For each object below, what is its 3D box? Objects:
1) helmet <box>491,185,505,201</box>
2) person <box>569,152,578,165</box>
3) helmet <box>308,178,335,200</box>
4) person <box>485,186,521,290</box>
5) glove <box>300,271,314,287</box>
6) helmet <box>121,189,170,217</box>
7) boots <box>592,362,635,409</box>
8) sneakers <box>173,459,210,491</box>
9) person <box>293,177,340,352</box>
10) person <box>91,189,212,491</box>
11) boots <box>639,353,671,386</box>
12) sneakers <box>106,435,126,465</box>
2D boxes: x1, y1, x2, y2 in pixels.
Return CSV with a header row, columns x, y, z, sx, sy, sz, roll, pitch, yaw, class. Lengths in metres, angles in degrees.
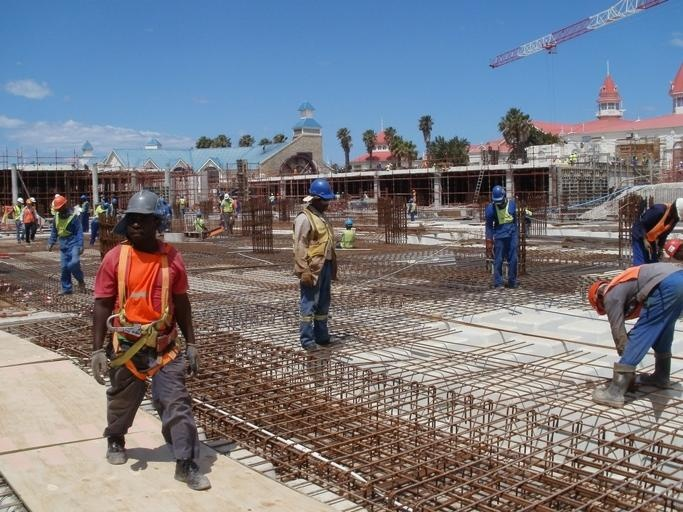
x,y,z,sx,sy,sz,roll,pitch,yaw,class
2.398,-0.965,8.986,0.208,0.151,0.278,-6,41,33,helmet
14.631,-6.097,36.771,0.477,0.726,2.419,1,7,21,person
-0.221,-0.701,6.063,0.272,0.135,0.218,18,26,34,helmet
2.505,-0.314,9.119,0.487,1.560,0.595,0,7,13,person
-0.336,0.221,5.849,0.117,0.181,0.102,-7,46,-22,glove
-1.179,-0.324,3.520,0.165,0.115,0.214,-1,0,3,helmet
2.087,0.987,4.444,0.194,0.339,0.369,17,-14,-10,boots
-0.843,1.243,3.359,0.246,0.095,0.107,6,6,38,sneakers
-0.278,0.062,6.022,0.430,1.690,0.604,-1,7,3,person
-1.116,0.444,3.486,0.826,1.664,0.442,1,7,20,person
2.576,0.924,4.781,0.170,0.279,0.315,7,-11,-23,boots
-1.363,1.183,3.550,0.084,0.077,0.211,2,-3,-26,sneakers
